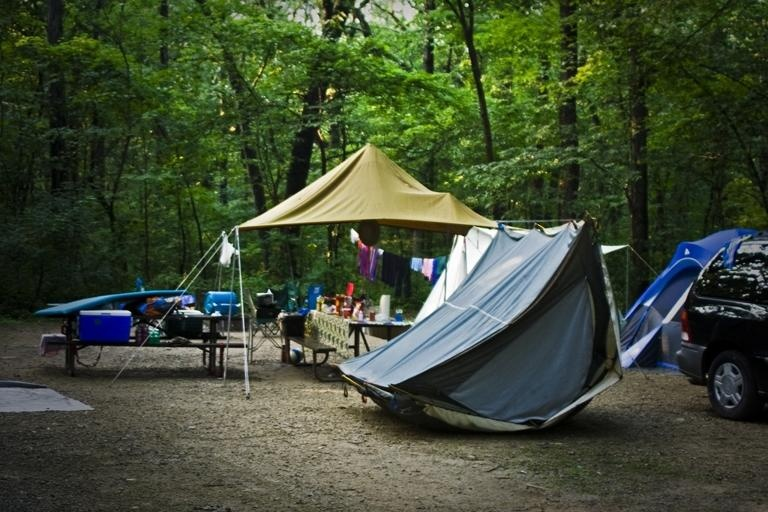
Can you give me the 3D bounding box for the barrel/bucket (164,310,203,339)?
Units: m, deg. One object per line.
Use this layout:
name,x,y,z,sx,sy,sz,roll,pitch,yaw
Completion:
barrel/bucket,-3.919,1.368,17.904,0.658,0.367,0.520,3,-5,-12

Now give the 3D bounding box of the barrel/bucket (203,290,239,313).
barrel/bucket,-3.746,1.097,21.029,0.776,0.511,3.226,3,-2,-10

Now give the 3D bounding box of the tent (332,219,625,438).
tent,1.538,1.257,16.361,4.330,2.829,4.211,-1,0,-13

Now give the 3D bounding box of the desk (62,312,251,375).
desk,-4.684,1.679,17.587,2.720,1.183,1.045,3,-2,-21

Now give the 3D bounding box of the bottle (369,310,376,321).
bottle,-0.225,1.226,18.501,0.170,0.136,0.213,2,4,2

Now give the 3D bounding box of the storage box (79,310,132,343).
storage box,-5.110,1.411,17.693,1.129,0.592,1.055,0,-8,15
